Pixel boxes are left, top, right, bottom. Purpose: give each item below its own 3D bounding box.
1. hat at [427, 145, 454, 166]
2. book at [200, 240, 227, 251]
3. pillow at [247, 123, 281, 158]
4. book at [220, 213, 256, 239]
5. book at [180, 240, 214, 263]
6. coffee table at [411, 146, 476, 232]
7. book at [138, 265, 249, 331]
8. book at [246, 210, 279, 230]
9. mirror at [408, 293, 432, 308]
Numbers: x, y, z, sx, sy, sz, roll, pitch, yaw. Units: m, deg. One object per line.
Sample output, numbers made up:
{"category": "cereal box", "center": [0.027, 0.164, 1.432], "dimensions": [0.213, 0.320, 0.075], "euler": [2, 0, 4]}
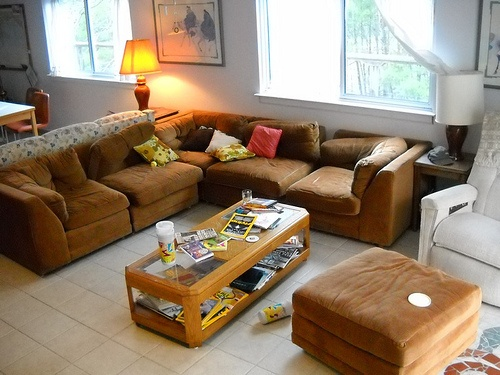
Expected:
{"category": "hat", "center": [1.974, -0.332, 3.956], "dimensions": [0.174, 0.070, 0.231], "euler": [-11, 29, -11]}
{"category": "book", "center": [-0.295, 0.495, 3.242], "dimensions": [0.112, 0.023, 0.106], "euler": [8, 19, 22]}
{"category": "pillow", "center": [0.197, -0.600, 4.903], "dimensions": [0.384, 0.337, 0.203], "euler": [16, 20, 29]}
{"category": "book", "center": [-0.111, 0.331, 3.513], "dimensions": [0.261, 0.296, 0.073], "euler": [12, 34, -22]}
{"category": "book", "center": [-0.439, 0.530, 3.136], "dimensions": [0.143, 0.028, 0.201], "euler": [-20, 35, -34]}
{"category": "coffee table", "center": [2.145, 0.047, 4.194], "dimensions": [0.677, 0.810, 0.550], "euler": [-22, 30, -40]}
{"category": "book", "center": [-0.345, 0.904, 3.048], "dimensions": [0.434, 0.103, 0.424], "euler": [10, 18, 35]}
{"category": "book", "center": [0.146, 0.301, 3.524], "dimensions": [0.180, 0.036, 0.180], "euler": [7, 21, 19]}
{"category": "mirror", "center": [1.107, 0.740, 2.467], "dimensions": [0.128, 0.018, 0.153], "euler": [17, 27, 42]}
